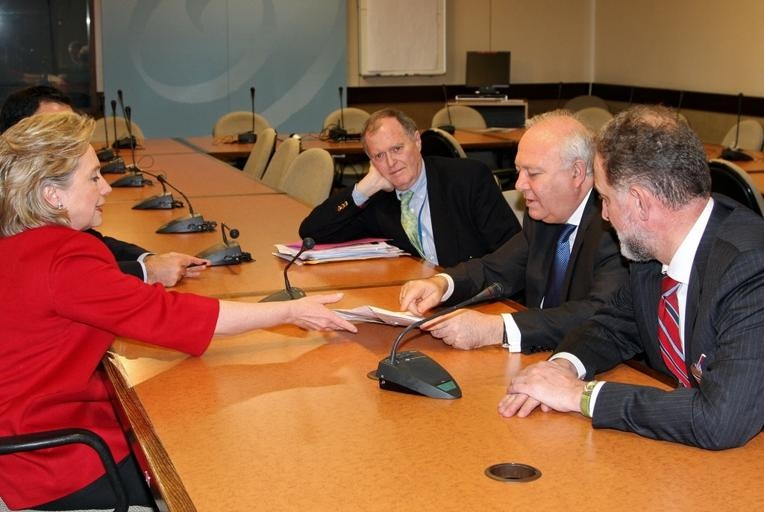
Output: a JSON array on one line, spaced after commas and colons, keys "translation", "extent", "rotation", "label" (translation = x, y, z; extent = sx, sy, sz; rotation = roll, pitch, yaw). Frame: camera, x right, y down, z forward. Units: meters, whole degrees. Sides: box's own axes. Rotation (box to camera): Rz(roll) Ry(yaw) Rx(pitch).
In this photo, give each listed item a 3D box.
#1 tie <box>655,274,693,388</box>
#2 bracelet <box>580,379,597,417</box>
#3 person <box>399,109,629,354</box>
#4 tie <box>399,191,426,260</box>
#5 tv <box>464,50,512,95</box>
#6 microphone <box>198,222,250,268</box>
[{"translation": [0.834, 0.210, 1.640], "extent": [0.075, 0.243, 0.191], "rotation": [-11, 13, 10], "label": "tie"}, {"translation": [0.520, 0.360, 1.433], "extent": [0.035, 0.081, 0.068], "rotation": [7, 18, 20], "label": "bracelet"}, {"translation": [0.602, -0.149, 2.187], "extent": [1.088, 0.813, 0.694], "rotation": [-7, 19, -14], "label": "person"}, {"translation": [0.157, -0.177, 3.048], "extent": [0.088, 0.066, 0.444], "rotation": [-3, 46, -7], "label": "tie"}, {"translation": [1.718, -3.024, 9.315], "extent": [1.042, 0.918, 0.317], "rotation": [0, 4, 1], "label": "tv"}, {"translation": [-0.749, -0.029, 2.687], "extent": [0.275, 0.184, 0.207], "rotation": [-5, 12, -28], "label": "microphone"}]
